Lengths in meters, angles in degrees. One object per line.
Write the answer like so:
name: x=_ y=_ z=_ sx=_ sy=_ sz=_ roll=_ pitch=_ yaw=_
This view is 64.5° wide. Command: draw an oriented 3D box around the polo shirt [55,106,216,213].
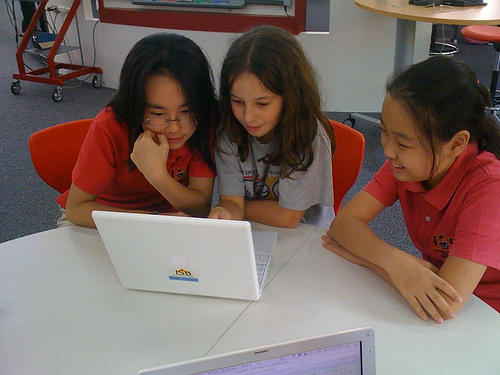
polo shirt: x=-0.491 y=-0.082 z=1.578 sx=0.687 sy=0.453 sz=0.274 roll=5 pitch=24 yaw=8

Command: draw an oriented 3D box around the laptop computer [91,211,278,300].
laptop computer: x=-0.179 y=0.079 z=1.308 sx=0.517 sy=0.252 sz=0.429 roll=3 pitch=25 yaw=1

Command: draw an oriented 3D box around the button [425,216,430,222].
button: x=0.593 y=0.102 z=1.311 sx=0.003 sy=0.014 sz=0.013 roll=-3 pitch=-4 yaw=-45
